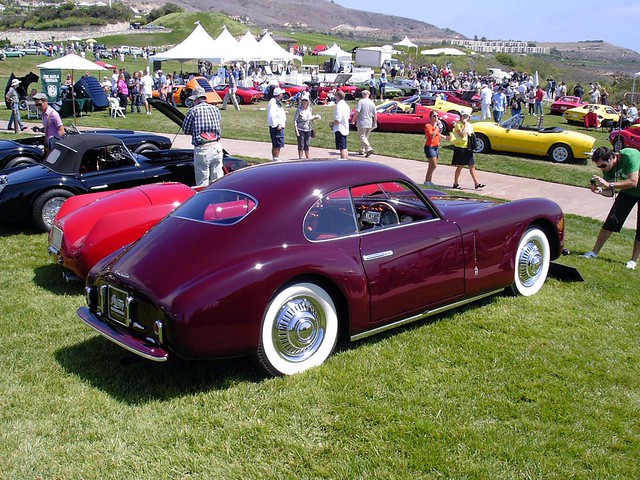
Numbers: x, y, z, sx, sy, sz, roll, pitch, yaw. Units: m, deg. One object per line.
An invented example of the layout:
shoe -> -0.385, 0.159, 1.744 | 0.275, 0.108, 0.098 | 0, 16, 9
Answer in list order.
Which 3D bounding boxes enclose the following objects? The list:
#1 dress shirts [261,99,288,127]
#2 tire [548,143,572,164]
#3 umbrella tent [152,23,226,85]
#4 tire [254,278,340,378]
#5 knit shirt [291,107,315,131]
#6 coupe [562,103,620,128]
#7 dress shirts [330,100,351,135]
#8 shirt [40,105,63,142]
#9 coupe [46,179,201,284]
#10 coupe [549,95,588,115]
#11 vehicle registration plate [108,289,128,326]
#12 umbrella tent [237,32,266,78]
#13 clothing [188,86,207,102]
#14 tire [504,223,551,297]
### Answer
dress shirts -> -1.169, -3.219, 15.698 | 0.541, 0.935, 1.011 | -8, 26, -4
tire -> 7.788, -2.832, 19.888 | 0.544, 0.619, 0.202 | 11, 14, 34
umbrella tent -> -6.977, -10.239, 33.257 | 3.756, 2.416, 4.006 | -2, 8, -9
tire -> -0.271, 0.867, 6.151 | 0.715, 0.780, 0.219 | -26, 17, -29
knit shirt -> -0.431, -3.154, 15.909 | 0.461, 0.695, 0.713 | 0, 22, -3
coupe -> 14.312, -6.357, 31.379 | 2.305, 0.740, 1.350 | -14, 21, -34
dress shirts -> 0.535, -3.243, 16.256 | 0.428, 0.936, 0.721 | 0, 22, -1
shirt -> -5.826, -2.512, 13.148 | 0.526, 0.703, 0.269 | 13, 26, 11
coupe -> -2.543, -0.106, 8.578 | 2.110, 0.705, 1.247 | -20, 26, -36
coupe -> 13.896, -7.484, 34.925 | 0.984, 0.701, 2.144 | 10, 27, 42
vehicle registration plate -> -2.022, 0.675, 6.159 | 0.306, 0.328, 0.043 | 12, 15, 42
umbrella tent -> -4.015, -9.828, 33.971 | 2.032, 1.239, 2.205 | 0, 38, -18
clothing -> -2.227, -2.674, 11.192 | 0.248, 0.192, 0.322 | -5, 6, -9
tire -> 2.643, 0.243, 7.925 | 0.284, 0.886, 0.733 | 8, 16, 44
